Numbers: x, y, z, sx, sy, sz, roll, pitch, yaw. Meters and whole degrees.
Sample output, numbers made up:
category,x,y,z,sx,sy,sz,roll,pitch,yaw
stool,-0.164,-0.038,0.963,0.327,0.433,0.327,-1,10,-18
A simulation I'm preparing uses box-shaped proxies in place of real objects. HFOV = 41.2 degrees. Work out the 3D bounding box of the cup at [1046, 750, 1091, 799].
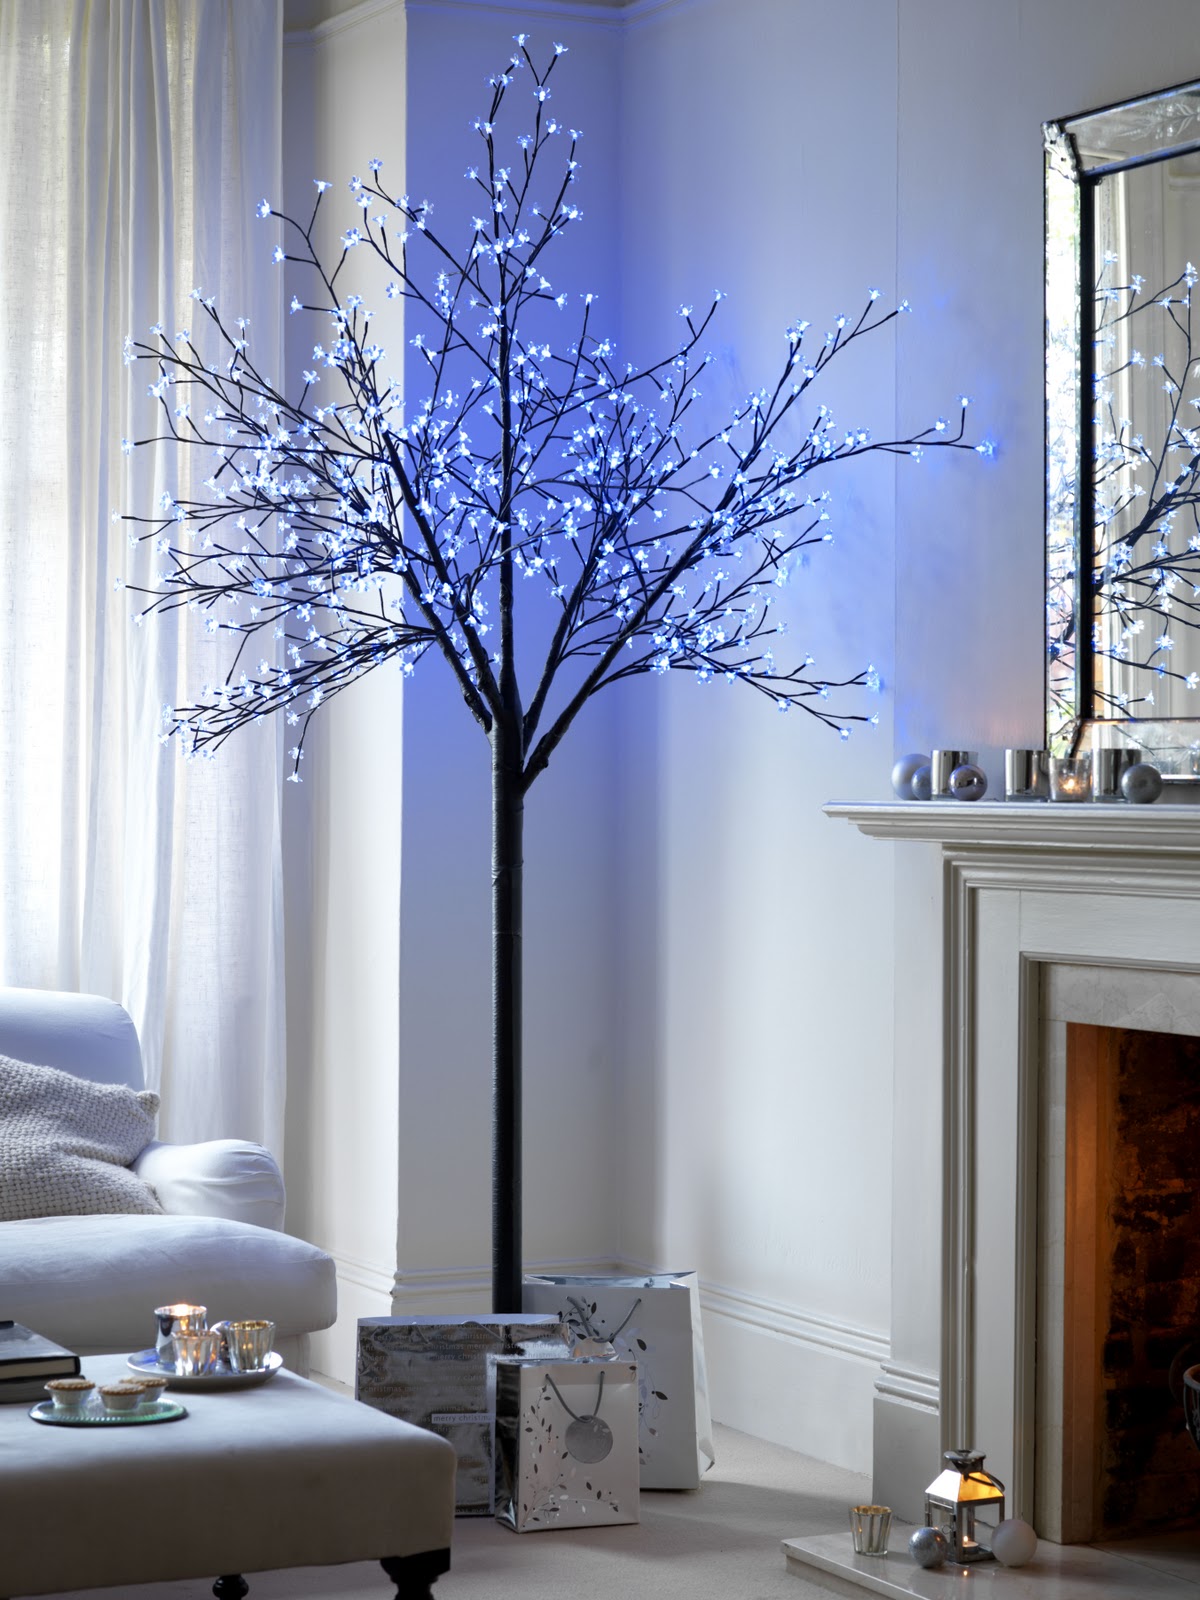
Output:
category,x,y,z,sx,sy,sz,roll,pitch,yaw
cup,0.648,-0.035,2.192,0.060,0.064,0.059,1,-3,0

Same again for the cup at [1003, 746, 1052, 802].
category,x,y,z,sx,sy,sz,roll,pitch,yaw
cup,0.609,-0.031,2.300,0.067,0.073,0.065,1,4,0

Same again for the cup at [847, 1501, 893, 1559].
category,x,y,z,sx,sy,sz,roll,pitch,yaw
cup,0.390,1.023,2.248,0.070,0.073,0.070,0,-6,0

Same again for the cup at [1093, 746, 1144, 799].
category,x,y,z,sx,sy,sz,roll,pitch,yaw
cup,0.693,-0.037,2.159,0.067,0.071,0.065,1,4,0

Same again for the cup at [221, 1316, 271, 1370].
category,x,y,z,sx,sy,sz,roll,pitch,yaw
cup,-0.377,0.595,1.740,0.053,0.041,0.041,2,0,-36

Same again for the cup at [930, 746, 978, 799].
category,x,y,z,sx,sy,sz,roll,pitch,yaw
cup,0.520,-0.043,2.361,0.066,0.071,0.065,1,-1,0

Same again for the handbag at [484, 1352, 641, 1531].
category,x,y,z,sx,sy,sz,roll,pitch,yaw
handbag,-0.021,1.022,2.532,0.206,0.238,0.162,-1,-18,0

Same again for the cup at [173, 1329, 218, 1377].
category,x,y,z,sx,sy,sz,roll,pitch,yaw
cup,-0.429,0.592,1.699,0.042,0.044,0.041,2,-6,0

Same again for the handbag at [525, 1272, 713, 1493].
category,x,y,z,sx,sy,sz,roll,pitch,yaw
handbag,0.025,1.022,2.761,0.369,0.341,0.126,-7,-25,22
